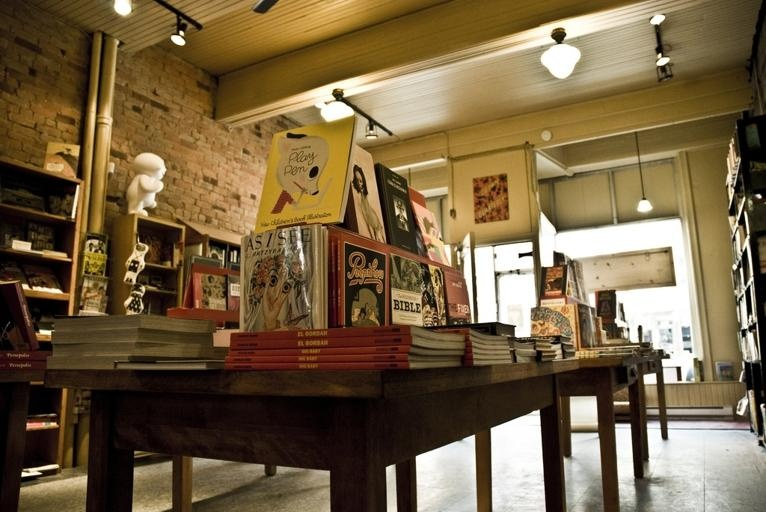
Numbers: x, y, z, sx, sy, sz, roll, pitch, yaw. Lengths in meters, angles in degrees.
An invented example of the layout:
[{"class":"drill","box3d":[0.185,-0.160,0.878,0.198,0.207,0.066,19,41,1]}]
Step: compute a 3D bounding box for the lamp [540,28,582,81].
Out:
[{"class":"lamp","box3d":[2.098,-2.423,6.523,0.425,0.516,0.418,12,27,28]}]
